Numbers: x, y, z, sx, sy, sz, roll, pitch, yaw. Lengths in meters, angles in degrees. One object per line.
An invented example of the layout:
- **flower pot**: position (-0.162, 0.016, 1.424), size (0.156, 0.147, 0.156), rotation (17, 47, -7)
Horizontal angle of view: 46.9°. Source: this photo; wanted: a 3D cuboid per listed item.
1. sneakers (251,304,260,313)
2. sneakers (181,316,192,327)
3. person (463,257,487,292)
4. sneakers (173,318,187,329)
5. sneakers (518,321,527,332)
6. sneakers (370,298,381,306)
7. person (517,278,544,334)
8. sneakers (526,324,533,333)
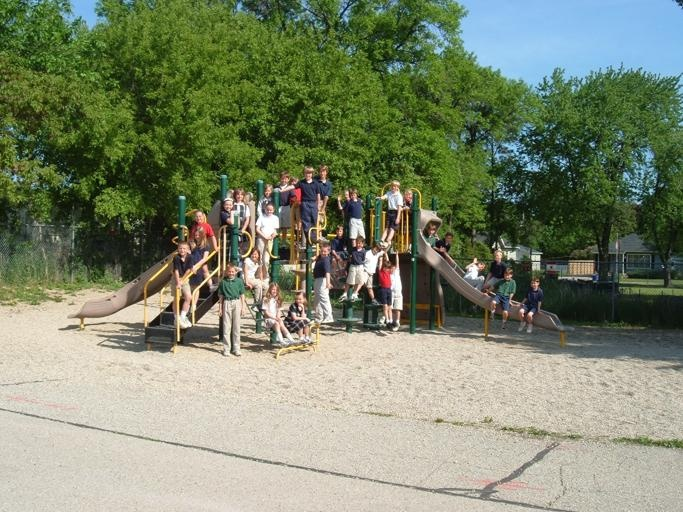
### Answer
- **sneakers**: position (-2.206, 1.335, 20.242), size (0.254, 0.271, 0.097), rotation (5, 23, 28)
- **sneakers**: position (-3.662, 1.556, 18.496), size (0.153, 0.255, 0.279), rotation (-2, -6, 41)
- **person**: position (4.154, 0.585, 24.471), size (0.417, 0.491, 0.855), rotation (-19, 17, 27)
- **sneakers**: position (-3.784, 1.569, 18.493), size (0.356, 0.170, 0.170), rotation (13, 35, 41)
- **sneakers**: position (5.340, 2.082, 23.190), size (0.148, 0.200, 0.461), rotation (-16, 18, 37)
- **sneakers**: position (0.977, 1.304, 22.159), size (0.114, 0.165, 0.350), rotation (1, 1, 24)
- **person**: position (5.255, 1.383, 21.873), size (0.573, 1.473, 1.625), rotation (1, -4, 13)
- **sneakers**: position (5.380, 2.071, 22.524), size (0.166, 0.225, 0.524), rotation (-8, 11, 23)
